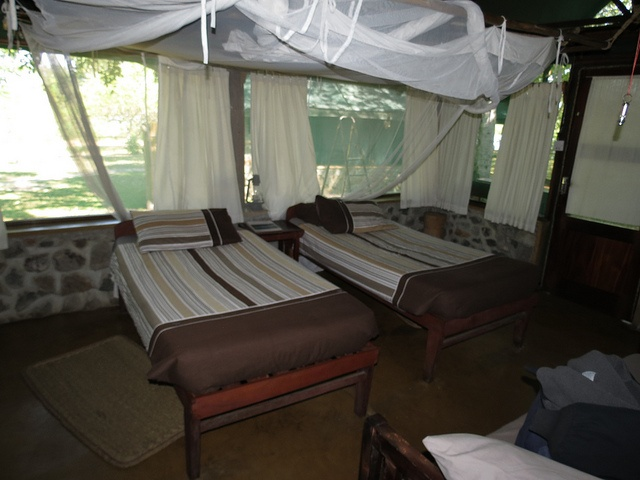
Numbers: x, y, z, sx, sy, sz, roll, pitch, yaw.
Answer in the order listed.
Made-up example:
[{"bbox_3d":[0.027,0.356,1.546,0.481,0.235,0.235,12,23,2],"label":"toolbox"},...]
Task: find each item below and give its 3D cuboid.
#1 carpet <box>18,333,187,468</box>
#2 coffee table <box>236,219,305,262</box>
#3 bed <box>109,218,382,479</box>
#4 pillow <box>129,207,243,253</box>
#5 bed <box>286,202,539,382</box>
[{"bbox_3d":[-1.501,1.196,2.977,0.607,0.044,0.925,-11,23,-42],"label":"carpet"},{"bbox_3d":[-0.560,-0.136,4.647,0.548,0.537,0.521,-13,28,-32],"label":"coffee table"},{"bbox_3d":[-0.724,0.438,3.168,1.324,0.741,1.999,-11,27,-29],"label":"bed"},{"bbox_3d":[-1.326,-0.078,3.982,0.796,0.155,0.504,2,54,-24],"label":"pillow"},{"bbox_3d":[0.752,0.143,4.220,1.478,1.043,2.247,-13,27,-32],"label":"bed"}]
